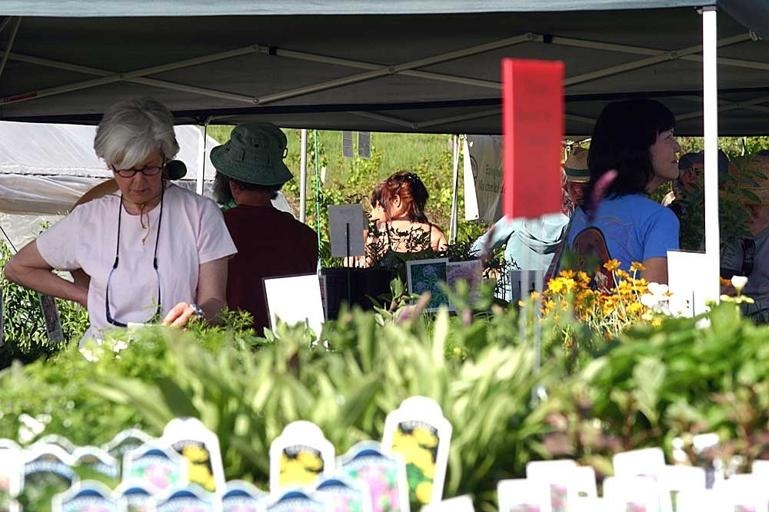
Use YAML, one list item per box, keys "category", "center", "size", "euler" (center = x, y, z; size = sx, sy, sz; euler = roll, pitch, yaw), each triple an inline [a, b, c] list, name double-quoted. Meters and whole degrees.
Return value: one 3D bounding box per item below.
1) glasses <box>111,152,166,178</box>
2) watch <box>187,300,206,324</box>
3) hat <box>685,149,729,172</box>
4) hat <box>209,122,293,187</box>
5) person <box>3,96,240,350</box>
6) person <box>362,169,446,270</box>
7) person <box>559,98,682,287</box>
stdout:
- category: "glasses"
  center: [-1.071, -0.390, 4.547]
  size: [0.234, 0.108, 0.121]
  euler: [-1, -1, -17]
- category: "watch"
  center: [-0.767, 0.225, 4.236]
  size: [0.074, 0.080, 0.024]
  euler: [11, -20, -30]
- category: "hat"
  center: [1.753, -0.529, 5.776]
  size: [0.244, 0.113, 0.202]
  euler: [3, 1, -10]
- category: "hat"
  center: [-0.717, -0.551, 5.485]
  size: [0.358, 0.201, 0.348]
  euler: [27, 23, 32]
- category: "person"
  center: [-1.180, -0.163, 4.678]
  size: [0.906, 1.035, 0.426]
  euler: [-2, -2, 14]
- category: "person"
  center: [0.108, -0.233, 6.353]
  size: [0.488, 0.632, 1.017]
  euler: [-1, -1, -1]
- category: "person"
  center: [1.088, -0.300, 4.869]
  size: [0.526, 0.855, 0.305]
  euler: [-2, -2, 16]
